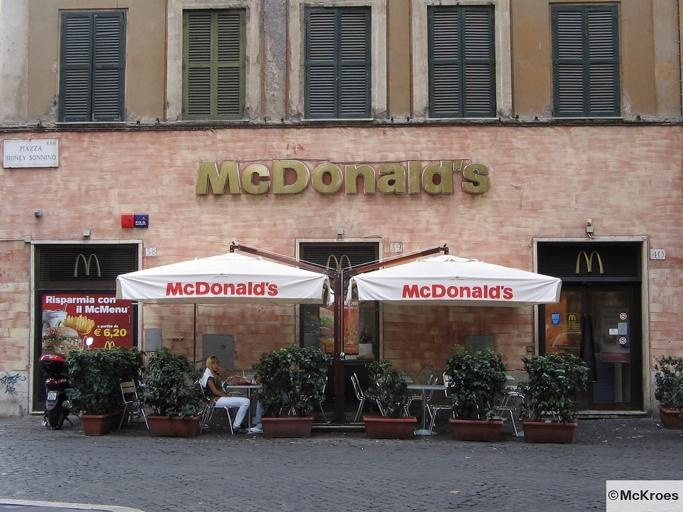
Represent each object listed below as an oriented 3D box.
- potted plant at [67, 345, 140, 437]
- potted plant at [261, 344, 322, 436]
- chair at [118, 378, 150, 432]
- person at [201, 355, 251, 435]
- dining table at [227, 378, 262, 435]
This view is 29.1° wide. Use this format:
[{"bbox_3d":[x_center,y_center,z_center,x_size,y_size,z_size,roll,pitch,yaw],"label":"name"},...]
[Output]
[{"bbox_3d":[-4.528,2.586,25.015,1.300,1.638,0.450,3,-7,-28],"label":"potted plant"},{"bbox_3d":[-0.962,2.555,24.788,1.328,1.724,0.435,0,-6,-4],"label":"potted plant"},{"bbox_3d":[-3.893,2.807,25.209,0.717,0.854,0.657,-1,5,5],"label":"chair"},{"bbox_3d":[-2.294,2.666,25.446,0.952,1.454,0.561,0,-6,-5],"label":"person"},{"bbox_3d":[-1.751,2.938,25.720,1.021,0.967,0.930,1,-11,-5],"label":"dining table"}]
